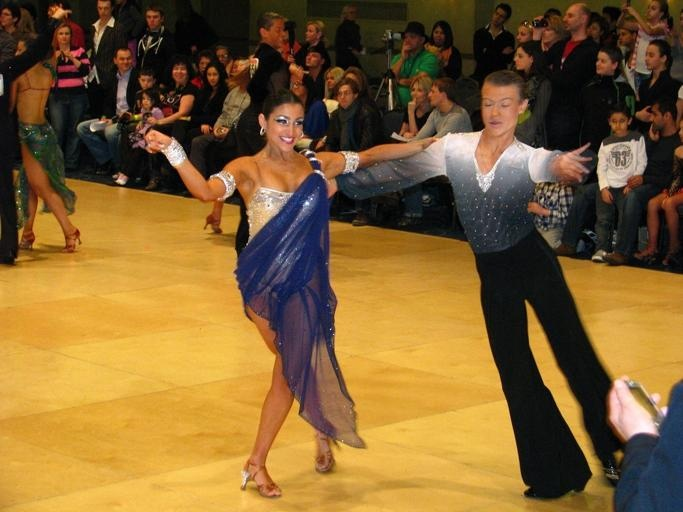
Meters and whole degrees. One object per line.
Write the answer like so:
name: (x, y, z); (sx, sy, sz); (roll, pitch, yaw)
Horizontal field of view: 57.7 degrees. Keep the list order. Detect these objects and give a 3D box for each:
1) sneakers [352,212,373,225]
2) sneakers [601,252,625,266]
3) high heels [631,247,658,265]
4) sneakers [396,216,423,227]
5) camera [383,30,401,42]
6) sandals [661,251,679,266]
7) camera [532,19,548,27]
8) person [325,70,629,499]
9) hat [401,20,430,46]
sneakers: (0.306, -0.591, 9.953); (0.145, 0.163, 0.392); (-1, -4, 15)
sneakers: (3.460, 0.029, 7.865); (0.325, 0.136, 0.111); (6, 0, 1)
high heels: (3.825, -0.014, 7.959); (0.486, 0.204, 0.165); (-4, 11, 11)
sneakers: (1.083, -0.554, 9.861); (0.441, 0.186, 0.145); (1, 6, -4)
camera: (0.990, -4.300, 12.164); (0.300, 0.257, 0.626); (1, 6, -3)
sandals: (4.196, 0.031, 7.932); (0.145, 0.158, 0.162); (0, 6, 2)
camera: (3.349, -3.935, 10.470); (0.193, 0.086, 0.267); (-1, 8, 6)
person: (0.876, 0.140, 3.478); (1.337, 2.228, 0.499); (7, 9, 38)
hat: (1.387, -4.223, 11.701); (0.341, 0.529, 0.634); (3, 7, 9)
